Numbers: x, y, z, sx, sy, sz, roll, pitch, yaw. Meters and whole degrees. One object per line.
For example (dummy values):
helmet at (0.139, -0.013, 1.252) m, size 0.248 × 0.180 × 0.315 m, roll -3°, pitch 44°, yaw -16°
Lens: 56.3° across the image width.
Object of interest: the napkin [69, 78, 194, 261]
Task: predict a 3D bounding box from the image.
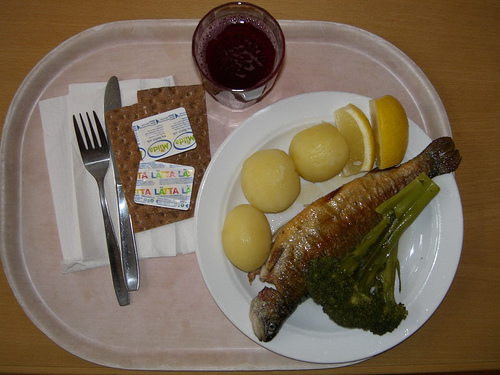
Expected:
napkin at (-0.653, -0.058, 2.399) m, size 0.580 × 0.925 × 0.523 m, roll 29°, pitch 57°, yaw 18°

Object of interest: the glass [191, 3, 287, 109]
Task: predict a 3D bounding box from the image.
glass at (-0.052, -0.637, 2.177) m, size 0.316 × 0.589 × 0.294 m, roll -8°, pitch 62°, yaw -7°

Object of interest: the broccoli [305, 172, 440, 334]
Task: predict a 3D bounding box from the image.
broccoli at (0.669, 0.353, 2.232) m, size 0.795 × 0.156 × 0.441 m, roll -43°, pitch 86°, yaw -3°
